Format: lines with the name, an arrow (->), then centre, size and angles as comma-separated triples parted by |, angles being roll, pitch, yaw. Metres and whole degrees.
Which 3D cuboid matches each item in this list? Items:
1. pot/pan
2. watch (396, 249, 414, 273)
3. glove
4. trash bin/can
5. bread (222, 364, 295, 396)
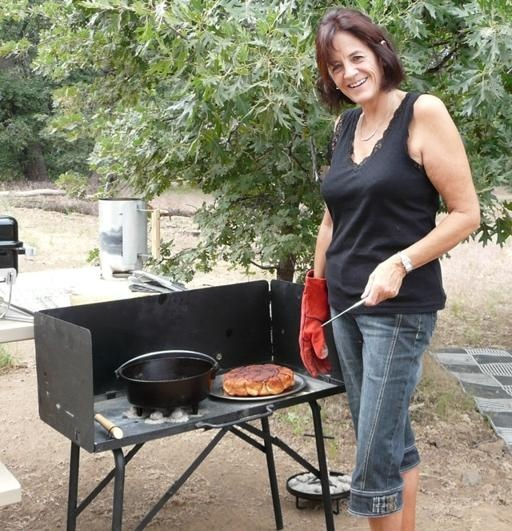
pot/pan -> -0.333, 0.427, 2.080 | 0.293, 0.130, 0.272 | -4, 4, -26
watch -> 0.404, -0.010, 1.519 | 0.034, 0.053, 0.055 | -26, -26, -18
glove -> 0.193, 0.203, 1.985 | 0.115, 0.342, 0.113 | 14, 16, 34
trash bin/can -> -0.657, -0.147, 2.965 | 0.251, 0.426, 0.244 | 11, 12, 37
bread -> 0.017, 0.455, 2.268 | 0.269, 0.079, 0.317 | 4, 6, 13
